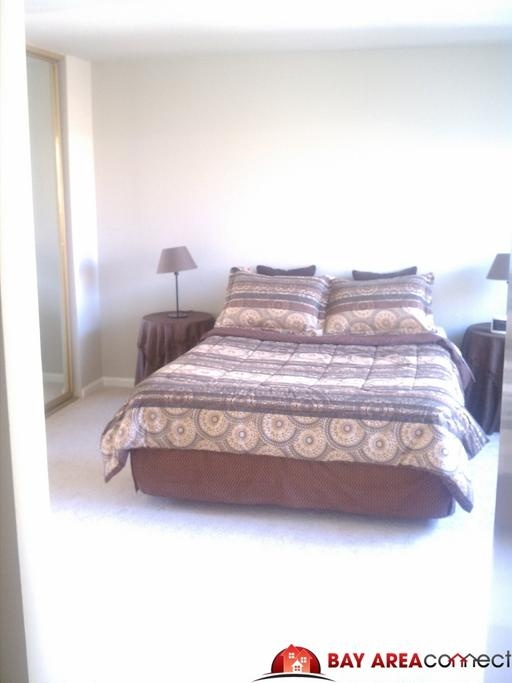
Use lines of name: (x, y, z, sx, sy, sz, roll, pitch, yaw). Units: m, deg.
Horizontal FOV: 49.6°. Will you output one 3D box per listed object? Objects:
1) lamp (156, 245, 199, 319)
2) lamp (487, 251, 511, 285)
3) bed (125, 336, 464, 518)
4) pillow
lamp: (-0.605, -0.476, 4.314, 0.294, 0.526, 0.452, -1, 11, -6)
lamp: (1.626, -0.505, 3.723, 0.123, 0.174, 0.359, 4, 12, 21)
bed: (0.216, 0.475, 2.903, 1.616, 0.650, 0.824, 2, 11, 10)
pillow: (0.474, -0.277, 3.885, 1.498, 0.396, 0.534, 2, 11, 12)
